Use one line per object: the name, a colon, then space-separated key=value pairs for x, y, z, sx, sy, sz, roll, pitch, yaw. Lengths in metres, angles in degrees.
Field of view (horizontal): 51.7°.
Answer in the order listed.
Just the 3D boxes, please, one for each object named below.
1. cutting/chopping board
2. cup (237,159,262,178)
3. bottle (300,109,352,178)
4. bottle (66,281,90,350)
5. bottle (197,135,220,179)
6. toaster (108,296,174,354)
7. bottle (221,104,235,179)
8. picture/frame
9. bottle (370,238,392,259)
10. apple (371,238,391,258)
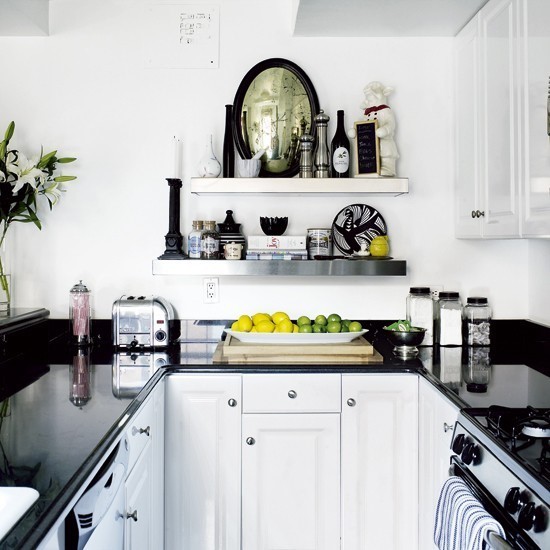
cutting/chopping board: x=0.087 y=0.322 z=2.272 sx=0.677 sy=0.070 sz=0.136 roll=0 pitch=5 yaw=-1
cup: x=-0.121 y=-0.479 z=2.601 sx=0.098 sy=0.087 sz=0.115 roll=0 pitch=5 yaw=-2
bottle: x=0.240 y=-0.611 z=2.657 sx=0.241 sy=0.340 sz=0.249 roll=0 pitch=4 yaw=0
bottle: x=-0.941 y=0.188 z=2.700 sx=0.104 sy=0.304 sz=0.168 roll=-1 pitch=4 yaw=-21
bottle: x=-0.309 y=-0.552 z=2.654 sx=0.102 sy=0.223 sz=0.229 roll=0 pitch=5 yaw=-5
toaster: x=-0.643 y=0.296 z=2.653 sx=0.268 sy=0.268 sz=0.186 roll=4 pitch=-38 yaw=-20
bottle: x=-0.229 y=-0.632 z=2.695 sx=0.050 sy=0.347 sz=0.102 roll=0 pitch=4 yaw=-4
picture/frame: x=0.002 y=-0.732 z=2.760 sx=0.435 sy=0.027 sz=0.707 roll=1 pitch=-45 yaw=1
bottle: x=0.493 y=-0.109 z=2.643 sx=0.081 sy=0.103 sz=0.094 roll=1 pitch=-5 yaw=1
apple: x=0.500 y=-0.115 z=2.662 sx=0.078 sy=0.101 sz=0.092 roll=0 pitch=-4 yaw=12
